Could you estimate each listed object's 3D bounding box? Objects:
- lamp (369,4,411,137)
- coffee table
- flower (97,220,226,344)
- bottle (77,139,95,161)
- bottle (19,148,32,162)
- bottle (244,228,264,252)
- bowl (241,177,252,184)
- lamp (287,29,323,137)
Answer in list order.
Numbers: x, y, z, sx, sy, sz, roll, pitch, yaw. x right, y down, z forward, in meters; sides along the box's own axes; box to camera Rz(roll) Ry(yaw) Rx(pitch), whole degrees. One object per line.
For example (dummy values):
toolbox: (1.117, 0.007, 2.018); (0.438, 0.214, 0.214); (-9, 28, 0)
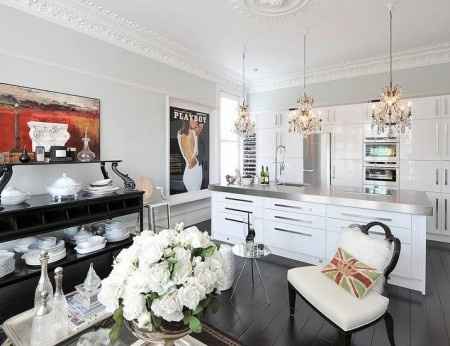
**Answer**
lamp: (2.685, -1.518, 4.608); (0.660, 1.797, 2.145); (2, 5, 34)
coffee table: (0.305, 1.148, 3.635); (0.470, 0.668, 1.083); (-1, 4, 3)
flower: (-0.362, 0.633, 1.694); (0.746, 0.595, 0.307); (-1, 4, 0)
bottle: (-1.812, -0.314, 3.620); (0.177, 0.301, 0.306); (-1, 4, -7)
bottle: (-2.270, -0.205, 3.145); (0.134, 0.150, 0.093); (0, 4, 16)
bottle: (0.318, 0.784, 3.296); (0.193, 0.310, 0.240); (1, -3, -32)
bowl: (0.378, 0.127, 4.808); (0.198, 0.132, 0.145); (-1, 4, 4)
lamp: (1.438, -1.638, 5.055); (0.628, 1.897, 0.640); (3, 11, 36)
